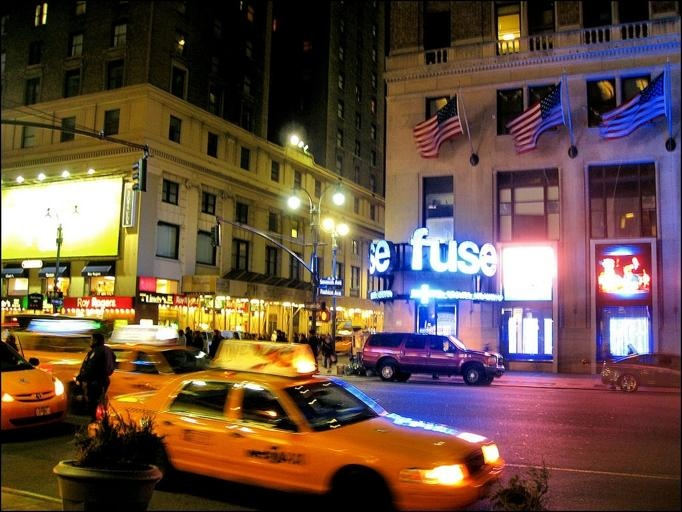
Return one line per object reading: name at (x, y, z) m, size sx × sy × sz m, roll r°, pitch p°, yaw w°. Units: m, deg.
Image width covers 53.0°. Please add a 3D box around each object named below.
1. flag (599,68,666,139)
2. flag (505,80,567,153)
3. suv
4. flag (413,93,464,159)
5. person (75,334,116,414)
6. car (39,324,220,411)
flag at (14.627, -7.538, 34.060) m, size 2.932 × 2.646 × 1.268 m, roll -3°, pitch -7°, yaw 28°
flag at (10.553, -7.422, 36.665) m, size 3.719 × 4.090 × 0.612 m, roll -8°, pitch 7°, yaw 45°
suv at (4.258, 5.109, 31.873) m, size 6.224 × 2.569 × 2.941 m, roll -1°, pitch -19°, yaw 16°
flag at (5.343, -7.248, 37.833) m, size 2.573 × 2.922 × 0.960 m, roll -4°, pitch -8°, yaw 37°
person at (-6.434, 3.224, 17.877) m, size 0.669 × 2.364 × 0.954 m, roll 7°, pitch 4°, yaw 8°
car at (-6.566, 3.359, 20.048) m, size 4.885 × 1.975 × 2.236 m, roll 0°, pitch -6°, yaw 20°
